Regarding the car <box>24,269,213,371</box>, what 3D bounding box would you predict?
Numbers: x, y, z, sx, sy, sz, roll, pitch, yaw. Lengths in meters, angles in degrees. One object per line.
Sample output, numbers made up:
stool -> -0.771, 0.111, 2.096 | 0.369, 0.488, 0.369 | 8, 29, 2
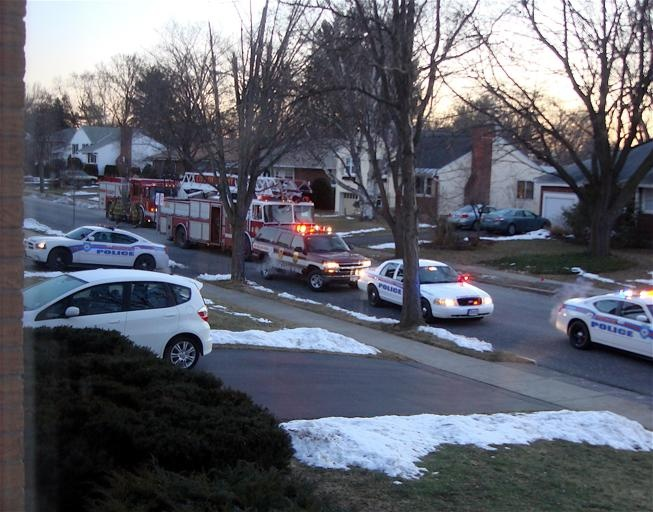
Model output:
car -> -3.336, 1.043, 11.082 | 2.925, 1.488, 1.131 | 5, 9, -30

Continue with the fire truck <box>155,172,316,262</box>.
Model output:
fire truck -> -4.362, -2.026, 31.216 | 3.476, 4.494, 9.394 | -5, 7, -43

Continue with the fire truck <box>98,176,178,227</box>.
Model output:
fire truck -> -11.916, -3.556, 42.045 | 2.648, 3.248, 7.217 | -3, 10, -27

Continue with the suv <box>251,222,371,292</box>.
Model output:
suv -> -0.587, 0.196, 23.172 | 1.458, 2.129, 4.729 | 0, 14, -44
